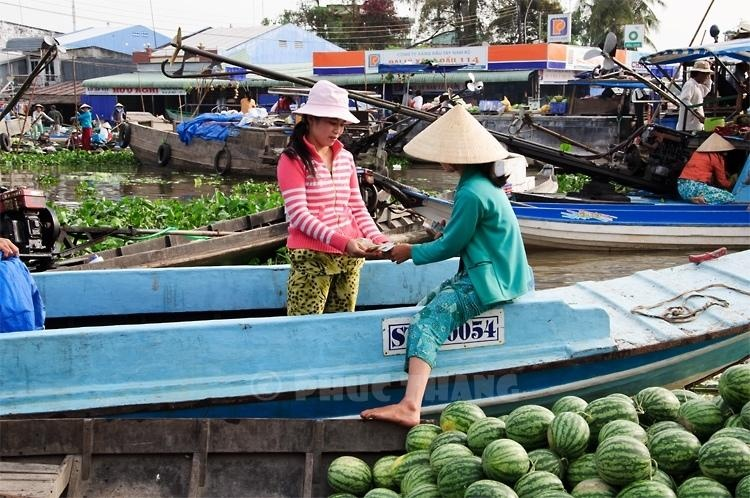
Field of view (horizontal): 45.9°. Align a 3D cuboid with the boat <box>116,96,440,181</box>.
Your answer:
[{"bbox_3d":[-3.208,-2.328,21.748,10.250,1.730,2.674,7,4,44],"label":"boat"}]

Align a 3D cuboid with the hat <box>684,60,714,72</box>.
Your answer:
[{"bbox_3d":[5.419,-2.988,14.524,0.370,0.121,0.342,2,1,-44],"label":"hat"}]

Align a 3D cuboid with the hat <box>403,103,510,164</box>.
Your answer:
[{"bbox_3d":[0.657,-0.933,7.506,0.715,0.250,0.644,1,3,-10],"label":"hat"}]

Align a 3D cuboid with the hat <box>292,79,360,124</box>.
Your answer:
[{"bbox_3d":[-0.424,-1.264,7.592,0.439,0.212,0.435,8,-2,-30],"label":"hat"}]

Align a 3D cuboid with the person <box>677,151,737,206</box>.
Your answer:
[{"bbox_3d":[4.757,-1.075,12.896,0.835,0.766,0.789,-7,17,-30],"label":"person"}]
